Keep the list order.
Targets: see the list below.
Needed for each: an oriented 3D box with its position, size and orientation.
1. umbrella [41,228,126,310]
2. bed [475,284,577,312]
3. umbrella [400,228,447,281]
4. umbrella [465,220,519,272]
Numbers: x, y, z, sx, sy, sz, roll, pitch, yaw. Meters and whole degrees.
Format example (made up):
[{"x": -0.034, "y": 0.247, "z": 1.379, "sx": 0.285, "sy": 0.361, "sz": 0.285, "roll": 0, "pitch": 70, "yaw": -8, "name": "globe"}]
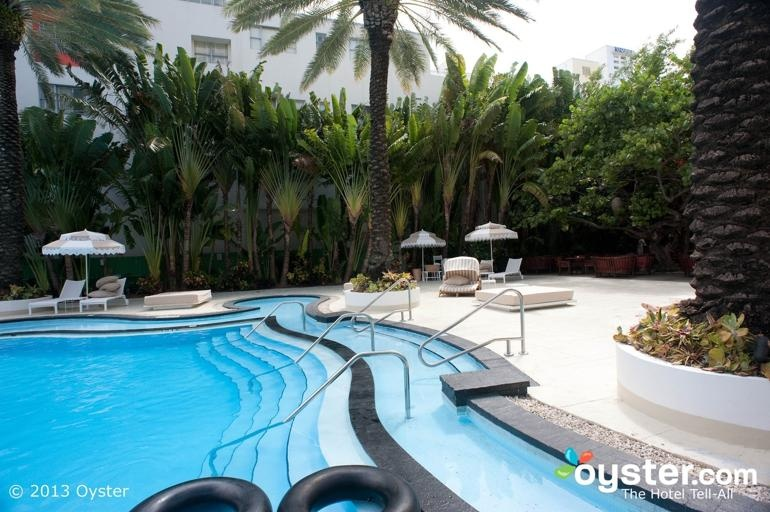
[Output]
[{"x": -10.039, "y": 0.232, "z": 16.231, "sx": 2.461, "sy": 2.269, "sz": 2.525, "roll": 7, "pitch": 8, "yaw": 42, "name": "umbrella"}, {"x": 3.855, "y": 1.131, "z": 13.261, "sx": 2.020, "sy": 0.551, "sz": 1.598, "roll": -2, "pitch": 2, "yaw": -30, "name": "bed"}, {"x": 1.938, "y": 0.014, "z": 23.107, "sx": 2.200, "sy": 2.561, "sz": 2.265, "roll": -4, "pitch": 4, "yaw": -30, "name": "umbrella"}, {"x": 4.692, "y": -0.320, "z": 21.012, "sx": 2.011, "sy": 2.138, "sz": 2.020, "roll": 1, "pitch": 2, "yaw": 15, "name": "umbrella"}]
